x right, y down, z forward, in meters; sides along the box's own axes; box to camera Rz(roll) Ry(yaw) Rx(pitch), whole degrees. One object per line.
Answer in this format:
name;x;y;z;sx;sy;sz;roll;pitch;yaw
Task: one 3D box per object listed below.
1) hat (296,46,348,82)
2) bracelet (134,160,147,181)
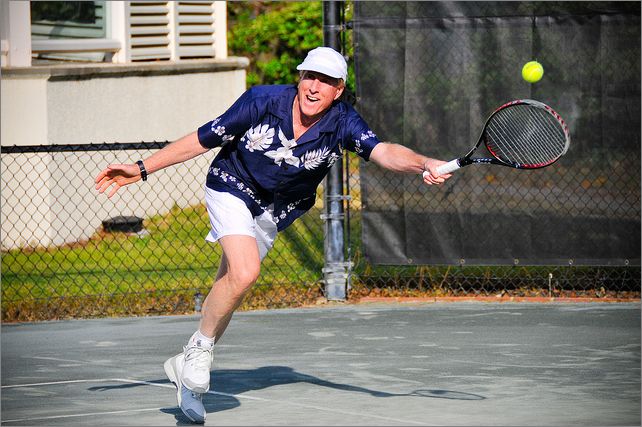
hat;0.014;-1.234;7.535;0.389;0.287;0.242;1;14;5
bracelet;-1.515;-0.369;7.603;0.069;0.125;0.122;-14;-23;-12
